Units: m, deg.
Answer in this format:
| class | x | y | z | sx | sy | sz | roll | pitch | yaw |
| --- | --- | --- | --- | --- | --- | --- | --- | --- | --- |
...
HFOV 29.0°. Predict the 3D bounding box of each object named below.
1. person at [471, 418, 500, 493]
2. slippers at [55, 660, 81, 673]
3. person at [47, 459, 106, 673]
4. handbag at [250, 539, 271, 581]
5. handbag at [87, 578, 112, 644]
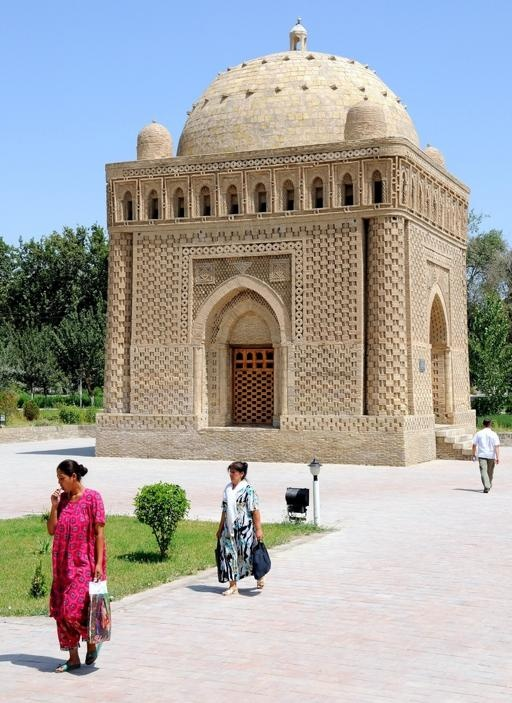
| class | x | y | z | sx | sy | sz | roll | pitch | yaw |
| --- | --- | --- | --- | --- | --- | --- | --- | --- | --- |
| person | 3.330 | 1.525 | 14.400 | 0.354 | 1.040 | 1.336 | -3 | -6 | 13 |
| slippers | -1.033 | 1.741 | 5.472 | 0.147 | 0.058 | 0.109 | 1 | -7 | -21 |
| person | -1.028 | 1.211 | 5.697 | 0.316 | 1.156 | 0.479 | 0 | -6 | -12 |
| handbag | 0.030 | 1.622 | 7.614 | 0.136 | 0.307 | 0.182 | -1 | -6 | -2 |
| handbag | -0.877 | 1.479 | 5.542 | 0.114 | 0.369 | 0.242 | 0 | -6 | -10 |
